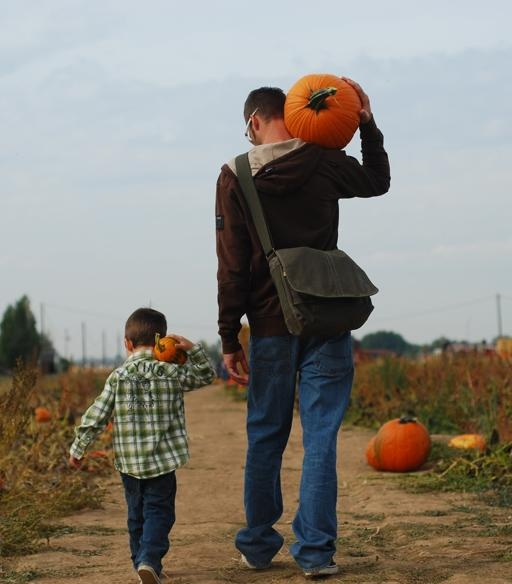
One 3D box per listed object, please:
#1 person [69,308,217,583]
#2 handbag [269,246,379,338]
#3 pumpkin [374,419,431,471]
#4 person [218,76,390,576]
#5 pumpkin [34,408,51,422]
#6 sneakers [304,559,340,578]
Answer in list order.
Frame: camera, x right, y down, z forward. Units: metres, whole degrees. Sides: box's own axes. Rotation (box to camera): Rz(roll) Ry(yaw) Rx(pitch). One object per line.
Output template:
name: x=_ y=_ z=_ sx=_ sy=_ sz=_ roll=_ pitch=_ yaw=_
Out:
person: x=-0.576 y=0.793 z=6.522 sx=0.583 sy=1.408 sz=0.668 roll=-5 pitch=-3 yaw=40
handbag: x=0.380 y=0.013 z=6.324 sx=0.514 sy=0.517 sz=0.288 roll=1 pitch=-11 yaw=-29
pumpkin: x=1.078 y=1.140 z=8.993 sx=0.344 sy=0.413 sz=0.377 roll=-2 pitch=0 yaw=15
person: x=0.240 y=0.167 z=6.412 sx=0.873 sy=2.595 sz=0.510 roll=-3 pitch=-2 yaw=-3
pumpkin: x=-2.146 y=1.223 z=12.261 sx=0.123 sy=0.095 sz=0.163 roll=-10 pitch=-36 yaw=-10
sneakers: x=0.338 y=1.423 z=6.243 sx=0.185 sy=0.083 sz=0.114 roll=-3 pitch=-2 yaw=-7
